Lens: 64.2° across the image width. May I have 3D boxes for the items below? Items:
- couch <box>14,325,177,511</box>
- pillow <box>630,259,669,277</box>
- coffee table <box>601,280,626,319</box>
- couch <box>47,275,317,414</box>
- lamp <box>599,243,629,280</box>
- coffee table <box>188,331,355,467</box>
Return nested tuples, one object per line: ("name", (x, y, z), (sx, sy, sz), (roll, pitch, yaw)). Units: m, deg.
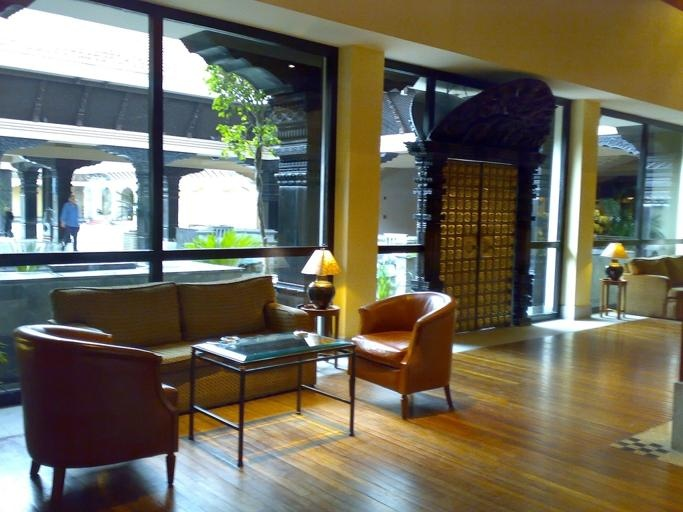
("couch", (-1.771, 0.953, 4.172), (1.256, 1.165, 1.425), (-2, 4, -41))
("pillow", (5.568, 0.200, 9.938), (0.487, 0.146, 0.424), (2, 2, -16))
("coffee table", (4.820, 0.716, 9.689), (0.436, 0.705, 0.731), (7, 10, 27))
("couch", (-1.419, 0.793, 5.126), (2.341, 0.915, 0.917), (-1, 12, -43))
("lamp", (4.797, 0.094, 9.660), (0.391, 0.704, 0.965), (7, 10, 25))
("coffee table", (-0.599, 1.082, 4.614), (1.281, 0.822, 1.103), (-4, 10, -37))
